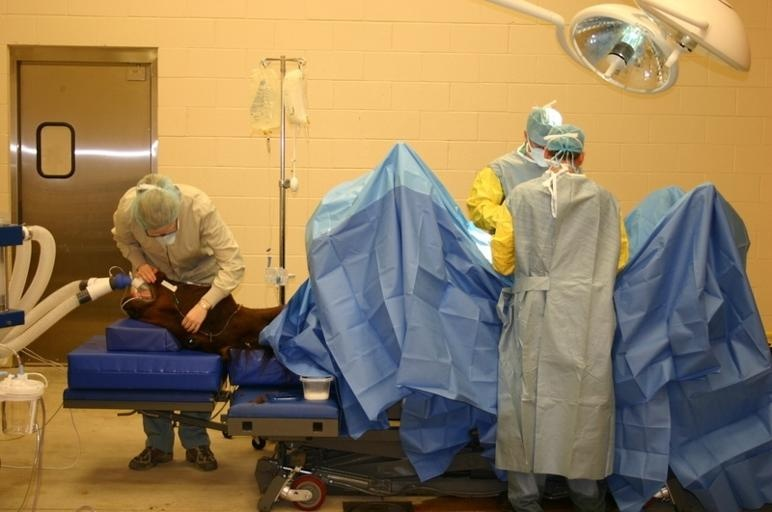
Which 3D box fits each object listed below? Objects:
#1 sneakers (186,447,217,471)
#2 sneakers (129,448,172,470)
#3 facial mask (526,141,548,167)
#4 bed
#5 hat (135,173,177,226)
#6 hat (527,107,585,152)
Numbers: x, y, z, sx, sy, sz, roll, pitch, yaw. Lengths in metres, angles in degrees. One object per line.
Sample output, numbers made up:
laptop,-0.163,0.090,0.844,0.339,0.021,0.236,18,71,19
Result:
sneakers,-1.154,1.283,6.824,0.099,0.108,0.236,6,-16,-29
sneakers,-1.481,1.279,6.812,0.291,0.134,0.106,6,-4,-36
facial mask,0.944,-0.649,6.651,0.123,0.088,0.132,-1,21,-4
bed,-0.702,0.893,6.907,3.108,1.302,1.090,1,5,-2
hat,-1.401,-0.334,6.604,0.269,0.333,0.200,-2,10,-13
hat,1.025,-0.818,6.525,0.253,0.144,0.323,-18,44,-29
